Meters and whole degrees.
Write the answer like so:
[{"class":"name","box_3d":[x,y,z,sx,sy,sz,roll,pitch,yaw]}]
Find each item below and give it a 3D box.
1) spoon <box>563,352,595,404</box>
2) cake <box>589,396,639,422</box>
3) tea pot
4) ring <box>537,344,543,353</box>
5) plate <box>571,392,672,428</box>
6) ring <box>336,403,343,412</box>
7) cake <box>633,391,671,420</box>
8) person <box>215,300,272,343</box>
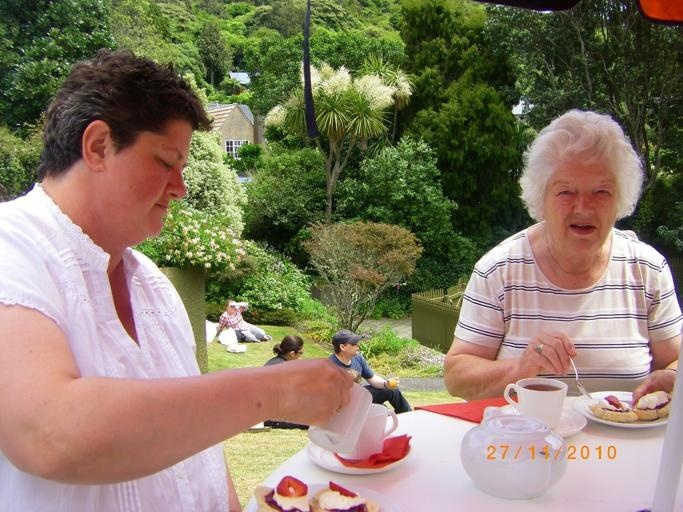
[{"class":"spoon","box_3d":[0.896,0.459,2.185,0.038,0.258,0.031,-34,-37,25]},{"class":"cake","box_3d":[0.852,0.467,1.825,0.077,0.037,0.089,-3,6,-28]},{"class":"tea pot","box_3d":[0.426,0.505,1.449,0.256,0.194,0.112,1,2,22]},{"class":"ring","box_3d":[0.668,0.308,1.944,0.018,0.014,0.024,4,5,35]},{"class":"plate","box_3d":[0.885,0.486,1.813,0.203,0.033,0.217,-2,8,-3]},{"class":"ring","box_3d":[-0.005,0.329,1.252,0.018,0.019,0.021,-1,-1,-3]},{"class":"cake","box_3d":[0.966,0.467,1.826,0.084,0.042,0.115,-23,12,-31]},{"class":"person","box_3d":[-2.071,1.335,12.292,0.980,1.158,0.890,5,28,8]}]
